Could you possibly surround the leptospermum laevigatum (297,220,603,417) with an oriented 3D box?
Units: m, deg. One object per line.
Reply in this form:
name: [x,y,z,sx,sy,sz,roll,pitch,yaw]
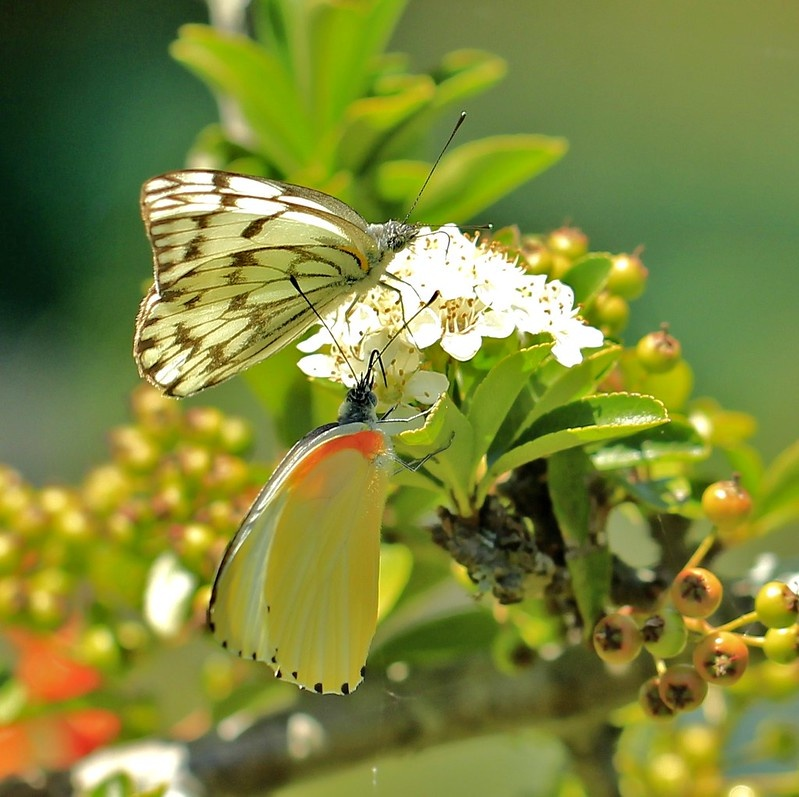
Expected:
leptospermum laevigatum: [0.118,-0.197,2.499,0.546,0.595,0.197,-7,81,-65]
